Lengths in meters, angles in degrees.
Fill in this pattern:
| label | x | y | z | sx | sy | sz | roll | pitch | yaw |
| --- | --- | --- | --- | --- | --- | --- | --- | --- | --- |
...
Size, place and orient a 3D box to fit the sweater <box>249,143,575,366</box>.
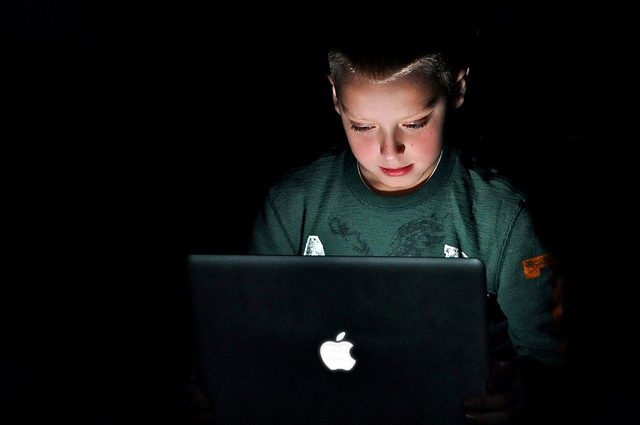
| label | x | y | z | sx | sy | sz | roll | pitch | yaw |
| --- | --- | --- | --- | --- | --- | --- | --- | --- | --- |
| sweater | 0.443 | 0.068 | 2.930 | 1.737 | 1.269 | 0.924 | 2 | 0 | 8 |
